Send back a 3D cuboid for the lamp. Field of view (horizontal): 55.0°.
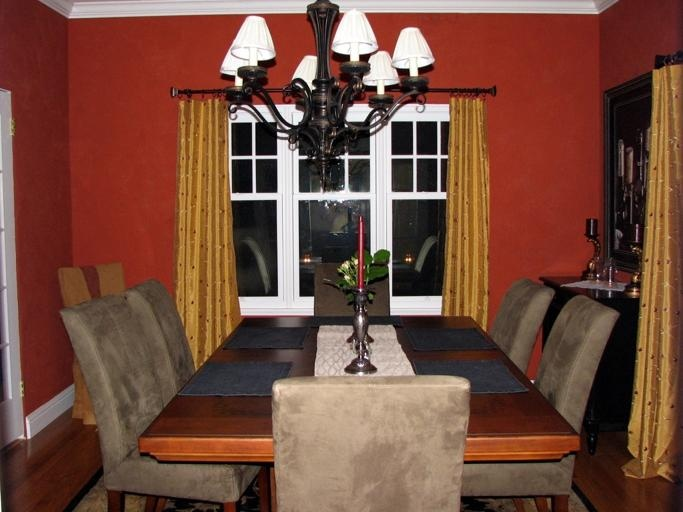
[{"bbox_3d":[-0.052,-1.046,4.221,1.190,1.362,1.549,0,4,1],"label":"lamp"}]

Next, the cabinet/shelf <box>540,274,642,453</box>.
[{"bbox_3d":[1.500,0.684,3.883,0.359,1.038,1.008,2,6,7],"label":"cabinet/shelf"}]

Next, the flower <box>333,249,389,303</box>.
[{"bbox_3d":[0.105,0.070,3.752,0.353,0.173,0.351,-15,8,27],"label":"flower"}]

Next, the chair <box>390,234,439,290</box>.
[{"bbox_3d":[0.579,0.045,5.551,0.399,0.532,0.338,0,10,-3],"label":"chair"}]

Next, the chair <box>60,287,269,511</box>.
[{"bbox_3d":[-0.818,0.750,4.115,1.081,1.873,1.206,0,3,2],"label":"chair"}]
